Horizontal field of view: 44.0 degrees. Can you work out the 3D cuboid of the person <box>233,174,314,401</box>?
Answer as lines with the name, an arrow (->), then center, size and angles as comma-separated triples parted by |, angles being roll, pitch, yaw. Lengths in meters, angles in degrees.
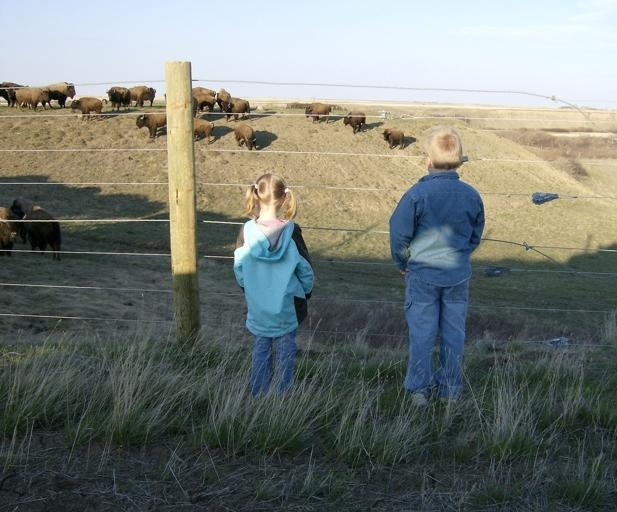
person -> -0.295, 0.236, 6.575 | 0.670, 1.831, 0.615 | -1, 12, -6

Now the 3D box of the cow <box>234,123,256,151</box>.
cow -> -2.322, -4.271, 26.810 | 0.508, 0.891, 1.640 | -14, 27, -17

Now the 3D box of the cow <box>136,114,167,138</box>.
cow -> -5.473, -4.590, 26.909 | 0.905, 0.883, 2.206 | -1, 13, -9

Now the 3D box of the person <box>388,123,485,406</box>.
person -> 1.099, 0.064, 6.579 | 0.805, 2.293, 0.598 | 1, 12, 4

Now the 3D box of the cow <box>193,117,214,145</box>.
cow -> -3.720, -4.445, 27.302 | 0.646, 0.813, 2.373 | -1, 13, -8

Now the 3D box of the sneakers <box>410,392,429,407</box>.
sneakers -> 0.935, 1.223, 6.515 | 0.133, 0.096, 0.175 | -3, 10, 1
